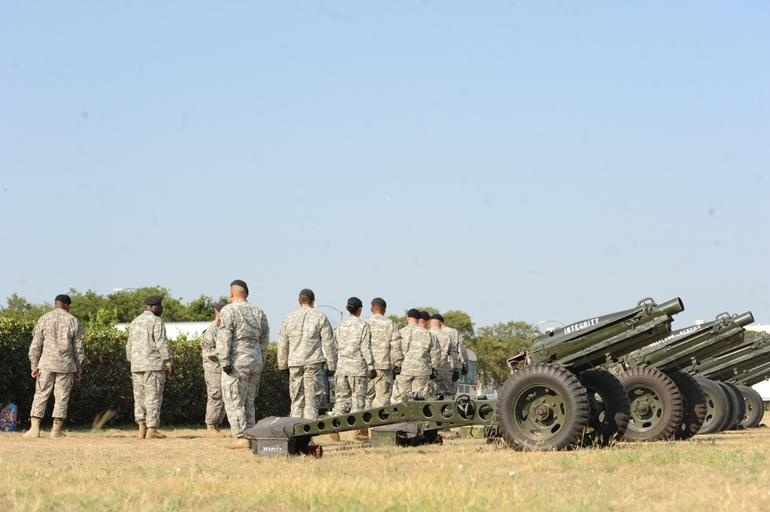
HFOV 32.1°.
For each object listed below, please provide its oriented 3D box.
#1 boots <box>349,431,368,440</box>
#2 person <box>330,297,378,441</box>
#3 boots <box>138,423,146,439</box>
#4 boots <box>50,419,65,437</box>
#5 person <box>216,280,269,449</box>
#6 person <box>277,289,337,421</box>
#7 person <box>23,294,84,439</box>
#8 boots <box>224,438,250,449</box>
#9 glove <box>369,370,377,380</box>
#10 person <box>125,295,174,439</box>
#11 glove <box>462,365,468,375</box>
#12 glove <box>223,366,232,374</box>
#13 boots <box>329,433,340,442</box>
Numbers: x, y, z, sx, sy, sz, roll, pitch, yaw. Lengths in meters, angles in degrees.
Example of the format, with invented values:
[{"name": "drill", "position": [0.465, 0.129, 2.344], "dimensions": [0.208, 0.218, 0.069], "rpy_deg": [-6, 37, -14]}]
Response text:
[{"name": "boots", "position": [-0.493, 3.557, 26.486], "dimensions": [0.276, 0.247, 0.271], "rpy_deg": [1, -3, -6]}, {"name": "person", "position": [-0.600, 1.902, 25.765], "dimensions": [0.787, 2.170, 0.713], "rpy_deg": [0, 0, -1]}, {"name": "boots", "position": [-4.746, 3.406, 26.257], "dimensions": [0.156, 0.273, 0.474], "rpy_deg": [0, -1, -13]}, {"name": "boots", "position": [-6.385, 3.335, 26.150], "dimensions": [0.259, 0.381, 1.072], "rpy_deg": [0, -1, -13]}, {"name": "person", "position": [-2.672, 2.125, 24.458], "dimensions": [0.711, 2.578, 1.041], "rpy_deg": [0, 0, 10]}, {"name": "person", "position": [-1.473, 1.793, 24.896], "dimensions": [1.054, 2.309, 0.783], "rpy_deg": [0, 0, 5]}, {"name": "person", "position": [-6.428, 2.136, 26.150], "dimensions": [1.112, 2.721, 0.936], "rpy_deg": [0, 0, -21]}, {"name": "boots", "position": [-2.645, 3.343, 24.054], "dimensions": [0.446, 0.182, 0.358], "rpy_deg": [0, -1, -2]}, {"name": "glove", "position": [-0.242, 2.282, 25.897], "dimensions": [0.122, 0.151, 0.163], "rpy_deg": [0, 2, 0]}, {"name": "person", "position": [-4.668, 2.174, 26.597], "dimensions": [0.848, 2.761, 1.242], "rpy_deg": [0, 0, -13]}, {"name": "glove", "position": [1.687, 2.417, 28.462], "dimensions": [0.167, 0.265, 0.156], "rpy_deg": [2, -5, 0]}, {"name": "glove", "position": [-2.843, 2.064, 24.254], "dimensions": [0.115, 0.093, 0.142], "rpy_deg": [4, 10, 42]}, {"name": "boots", "position": [-0.963, 3.478, 25.657], "dimensions": [0.225, 0.212, 0.205], "rpy_deg": [1, -1, 12]}]
